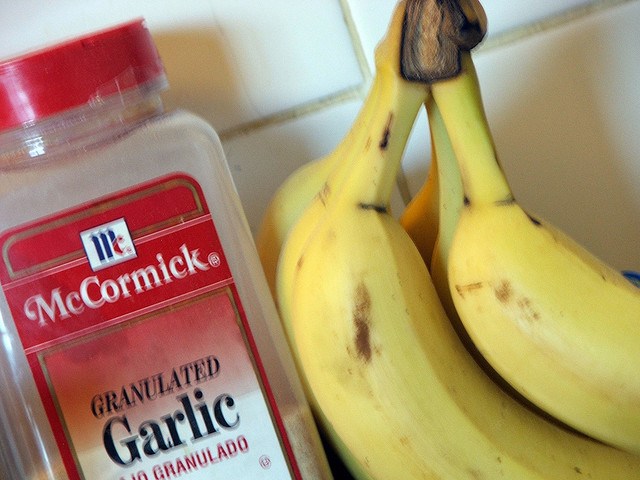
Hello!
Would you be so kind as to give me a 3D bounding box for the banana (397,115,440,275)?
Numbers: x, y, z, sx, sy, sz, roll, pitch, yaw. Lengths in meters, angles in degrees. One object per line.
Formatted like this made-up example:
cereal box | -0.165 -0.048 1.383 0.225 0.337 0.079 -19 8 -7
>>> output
banana | 0.074 -0.035 0.499 0.026 0.113 0.037 -10 17 -33
